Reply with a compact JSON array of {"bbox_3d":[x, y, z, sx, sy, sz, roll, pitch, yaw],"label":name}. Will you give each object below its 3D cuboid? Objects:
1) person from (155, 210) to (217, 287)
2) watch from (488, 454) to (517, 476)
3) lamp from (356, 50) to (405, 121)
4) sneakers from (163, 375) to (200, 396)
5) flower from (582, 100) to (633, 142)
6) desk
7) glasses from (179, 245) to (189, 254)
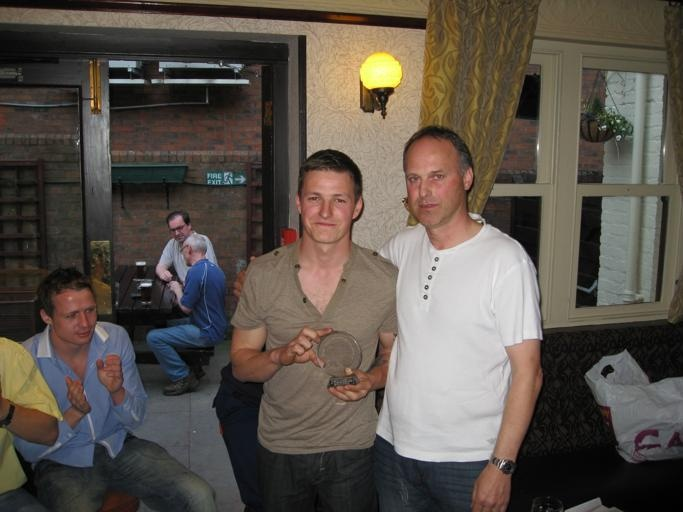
[{"bbox_3d":[-1.785,-0.071,6.144,0.609,0.808,0.526,-12,7,-12],"label":"person"},{"bbox_3d":[0.603,0.763,2.051,0.083,0.060,0.078,32,-9,-35],"label":"watch"},{"bbox_3d":[0.225,-1.001,3.214,0.241,0.376,0.256,-1,4,0],"label":"lamp"},{"bbox_3d":[-1.465,1.170,5.141,0.331,0.170,0.128,-8,20,-26],"label":"sneakers"},{"bbox_3d":[1.794,-0.927,3.838,0.327,0.182,0.268,-1,9,-7],"label":"flower"},{"bbox_3d":[-1.741,0.502,4.873,0.316,0.269,0.990,2,10,-9],"label":"desk"},{"bbox_3d":[-1.604,-0.075,5.666,0.085,0.026,0.087,11,12,-38],"label":"glasses"}]
